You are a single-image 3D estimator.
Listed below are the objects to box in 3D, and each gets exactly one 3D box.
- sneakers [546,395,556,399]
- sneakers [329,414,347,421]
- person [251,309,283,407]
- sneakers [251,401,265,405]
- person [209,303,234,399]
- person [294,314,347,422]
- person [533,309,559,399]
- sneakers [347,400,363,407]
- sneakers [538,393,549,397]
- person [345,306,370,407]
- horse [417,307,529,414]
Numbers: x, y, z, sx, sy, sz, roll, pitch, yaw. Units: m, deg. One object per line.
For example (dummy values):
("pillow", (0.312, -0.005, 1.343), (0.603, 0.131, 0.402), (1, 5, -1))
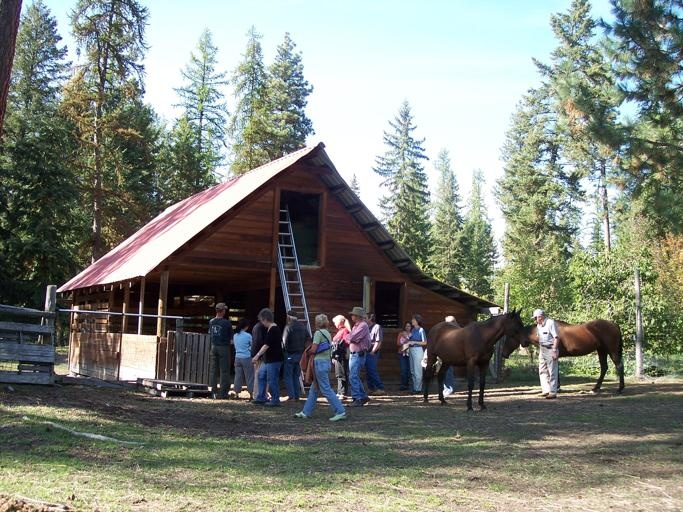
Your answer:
("sneakers", (6.064, 4.069, 21.518), (0.286, 0.117, 0.106), (6, -9, -4))
("sneakers", (-0.102, 3.888, 18.002), (0.428, 0.196, 0.146), (2, -3, -17))
("person", (-1.989, 2.726, 20.107), (0.775, 2.580, 1.023), (0, -8, -5))
("sneakers", (-2.248, 3.960, 19.965), (0.343, 0.148, 0.123), (13, -9, -11))
("person", (-3.395, 2.630, 20.852), (0.651, 2.674, 1.087), (1, -8, -9))
("person", (-0.510, 2.751, 18.558), (1.107, 2.606, 1.521), (0, -8, -1))
("person", (6.026, 2.862, 21.826), (0.630, 2.549, 1.036), (-2, -8, 15))
("sneakers", (0.371, 4.058, 20.407), (0.151, 0.183, 0.456), (-7, -16, 27))
("sneakers", (5.862, 4.053, 21.678), (0.197, 0.131, 0.294), (5, -10, -33))
("person", (0.494, 2.826, 21.102), (0.616, 2.714, 1.470), (-1, -8, 2))
("horse", (3.501, 2.886, 20.725), (1.267, 2.604, 2.971), (6, -10, -37))
